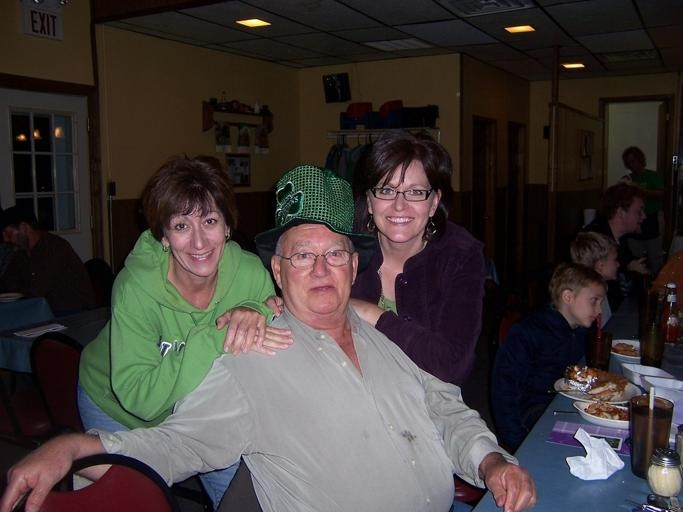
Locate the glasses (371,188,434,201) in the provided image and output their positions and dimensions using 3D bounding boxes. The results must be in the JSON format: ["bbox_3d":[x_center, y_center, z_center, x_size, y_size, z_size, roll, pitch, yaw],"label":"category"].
[{"bbox_3d":[0.230,-0.233,2.104,0.217,0.053,0.060,1,7,8],"label":"glasses"}]

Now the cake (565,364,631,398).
[{"bbox_3d":[1.102,0.547,2.420,0.149,0.049,0.144,-4,9,-42],"label":"cake"}]

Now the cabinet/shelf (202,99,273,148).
[{"bbox_3d":[-1.469,-1.825,7.657,0.140,0.456,0.850,1,4,29],"label":"cabinet/shelf"}]

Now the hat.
[{"bbox_3d":[-0.095,-0.132,2.029,0.365,0.213,0.294,-5,-12,20],"label":"hat"}]
